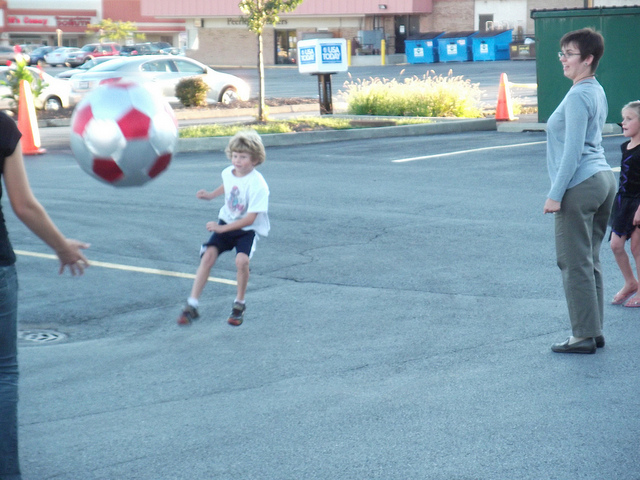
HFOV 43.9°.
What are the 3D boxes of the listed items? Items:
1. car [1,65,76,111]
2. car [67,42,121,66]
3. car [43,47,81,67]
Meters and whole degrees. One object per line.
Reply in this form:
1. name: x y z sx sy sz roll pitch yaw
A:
1. car: -8.138 -4.413 22.931 2.157 1.291 3.740 -8 16 -15
2. car: -15.873 -13.333 56.471 4.508 1.496 2.004 -5 9 -35
3. car: -17.986 -13.182 56.781 1.470 0.860 3.031 5 13 22
